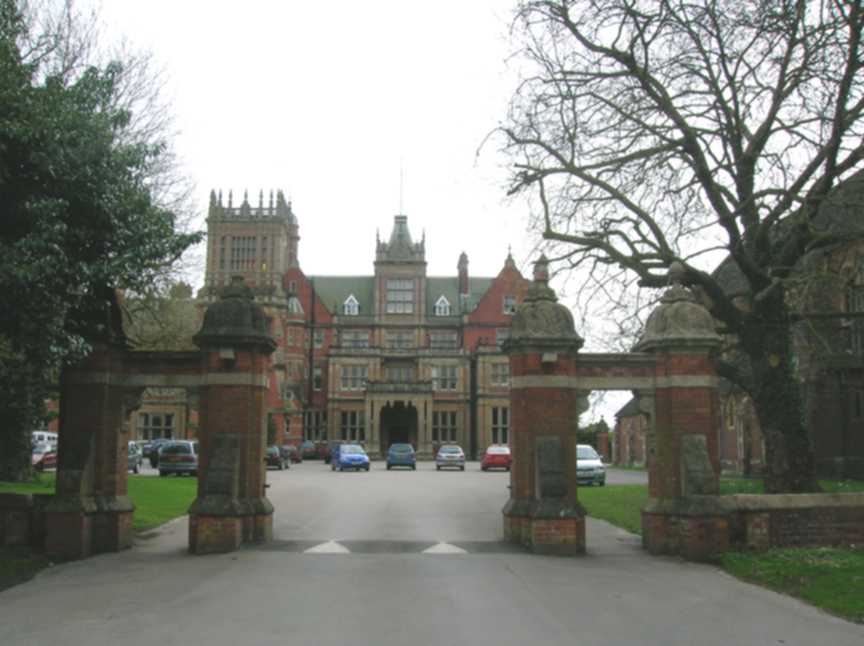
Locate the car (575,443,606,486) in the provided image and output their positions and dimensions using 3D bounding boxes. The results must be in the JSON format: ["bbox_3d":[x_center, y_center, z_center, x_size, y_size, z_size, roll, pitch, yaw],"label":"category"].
[{"bbox_3d":[5.698,5.206,42.123,1.063,1.158,2.861,-2,-13,5],"label":"car"}]

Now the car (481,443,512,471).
[{"bbox_3d":[2.913,6.251,53.000,1.156,1.090,3.006,0,-2,3],"label":"car"}]

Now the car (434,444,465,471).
[{"bbox_3d":[0.773,6.382,55.323,1.208,1.333,1.624,0,-12,-6],"label":"car"}]
